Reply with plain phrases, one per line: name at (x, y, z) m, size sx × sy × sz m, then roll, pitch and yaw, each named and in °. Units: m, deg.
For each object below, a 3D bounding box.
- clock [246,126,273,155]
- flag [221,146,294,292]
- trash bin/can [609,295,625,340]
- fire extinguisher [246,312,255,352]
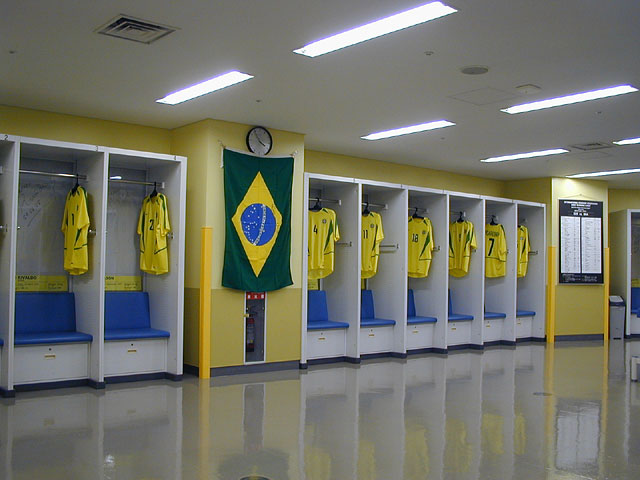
clock at (-1.008, -1.618, 8.291) m, size 0.460 × 0.482 × 0.076 m, roll 1°, pitch -6°, yaw -36°
flag at (-0.997, -0.289, 8.180) m, size 1.229 × 2.231 × 0.100 m, roll 3°, pitch -4°, yaw -29°
trash bin/can at (7.634, 2.006, 13.132) m, size 0.501 × 1.034 × 0.228 m, roll 2°, pitch -4°, yaw -17°
fire extinguisher at (-1.102, 1.468, 8.110) m, size 0.159 × 0.630 × 0.054 m, roll 3°, pitch -4°, yaw -33°
